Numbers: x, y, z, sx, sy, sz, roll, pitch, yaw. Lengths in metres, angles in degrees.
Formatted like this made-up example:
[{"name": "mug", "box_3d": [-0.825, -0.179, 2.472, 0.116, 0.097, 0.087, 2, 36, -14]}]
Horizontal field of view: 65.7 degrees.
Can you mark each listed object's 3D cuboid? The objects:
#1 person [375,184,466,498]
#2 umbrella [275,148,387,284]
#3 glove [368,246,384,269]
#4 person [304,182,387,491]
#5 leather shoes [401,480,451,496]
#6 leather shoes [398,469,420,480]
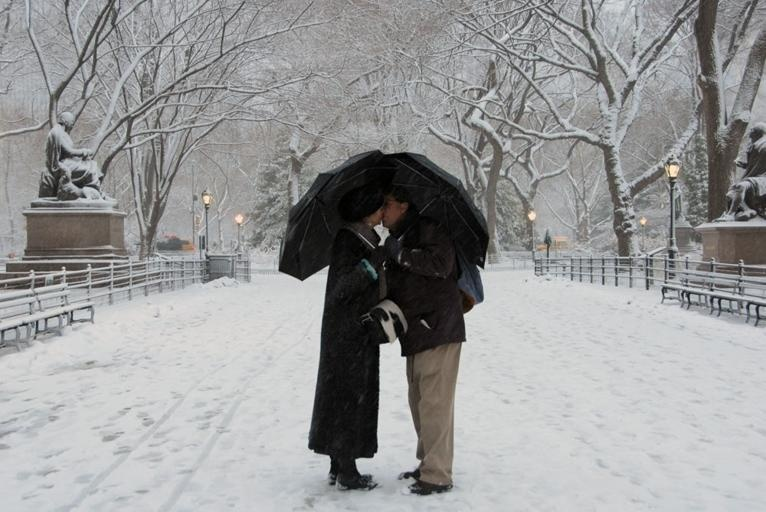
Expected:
[{"name": "person", "box_3d": [0.505, 1.089, 7.630, 1.039, 3.909, 0.563, 1, 7, 8]}, {"name": "umbrella", "box_3d": [-0.763, -0.553, 7.732, 0.539, 1.559, 1.619, 38, 19, 14]}, {"name": "glove", "box_3d": [-0.082, 0.022, 7.464, 0.161, 0.298, 0.083, 17, -1, 9]}, {"name": "person", "box_3d": [-0.456, 1.060, 7.664, 0.908, 3.948, 0.503, 0, 7, -1]}, {"name": "leather shoes", "box_3d": [0.575, 2.990, 7.662, 0.543, 0.255, 0.214, -1, -39, -2]}, {"name": "leather shoes", "box_3d": [0.347, 2.933, 7.936, 0.250, 0.111, 0.167, -11, -9, 36]}]
